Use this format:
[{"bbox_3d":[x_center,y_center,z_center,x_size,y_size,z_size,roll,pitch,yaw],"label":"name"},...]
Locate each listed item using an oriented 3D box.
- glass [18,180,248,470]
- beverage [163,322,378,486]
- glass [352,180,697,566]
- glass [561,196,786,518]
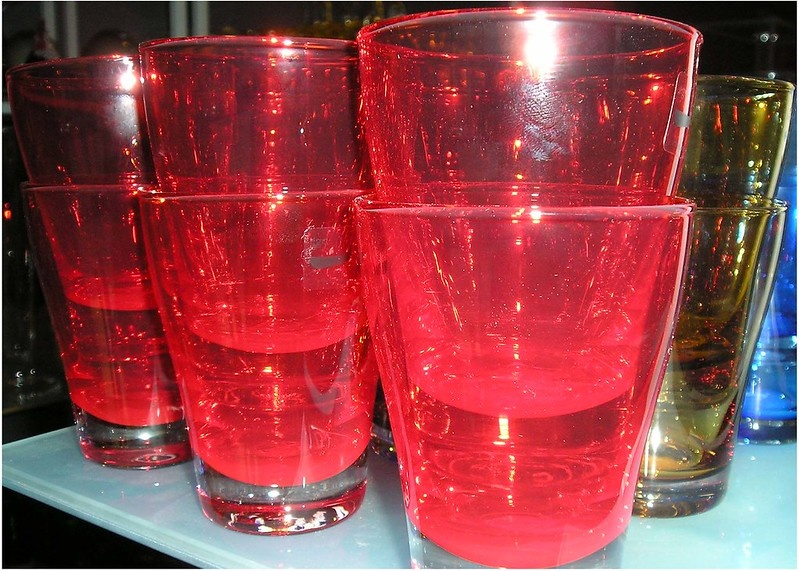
[{"bbox_3d":[-0.198,0.012,0.556,0.186,0.235,0.169,-9,14,-39],"label":"glass"},{"bbox_3d":[-0.074,0.069,0.432,0.140,0.086,0.123,-8,-12,39],"label":"beverage"},{"bbox_3d":[0.051,0.024,0.375,0.179,0.157,0.166,-4,9,-21],"label":"glass"},{"bbox_3d":[0.144,0.045,0.449,0.136,0.173,0.127,-1,1,26],"label":"glass"}]
